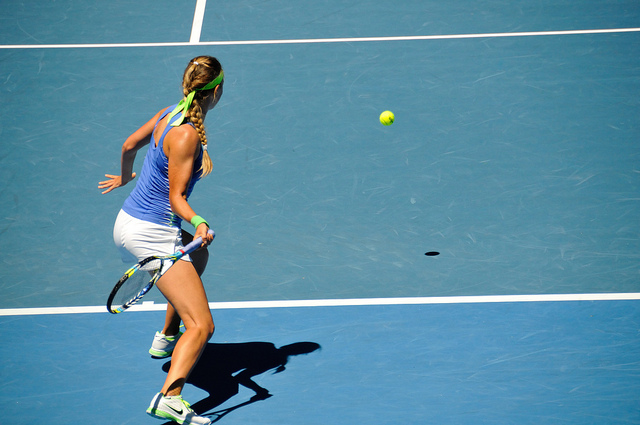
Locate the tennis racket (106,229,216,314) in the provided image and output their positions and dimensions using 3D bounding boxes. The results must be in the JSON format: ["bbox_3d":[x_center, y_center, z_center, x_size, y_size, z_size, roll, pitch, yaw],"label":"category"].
[{"bbox_3d":[-1.401,0.541,6.417,1.233,0.093,0.291,-22,-46,-27],"label":"tennis racket"}]
